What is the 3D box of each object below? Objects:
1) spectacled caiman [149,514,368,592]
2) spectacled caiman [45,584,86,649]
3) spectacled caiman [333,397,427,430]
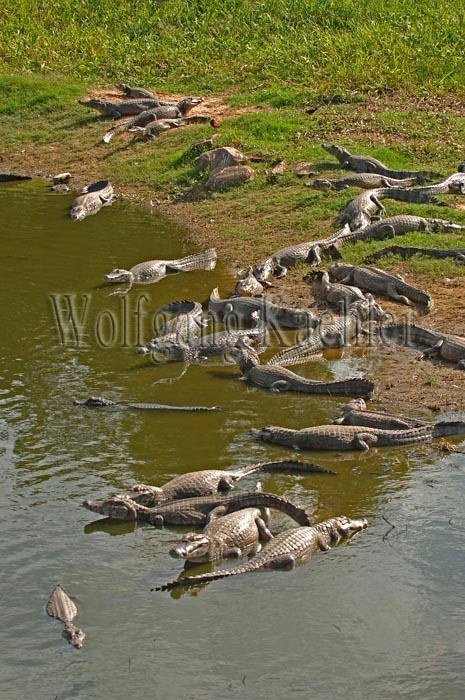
[{"bbox_3d":[0.322,1.551,7.900,1.917,0.242,0.539,-9,6,-27],"label":"spectacled caiman"},{"bbox_3d":[-1.244,1.979,7.453,0.198,0.094,0.607,2,33,-26],"label":"spectacled caiman"},{"bbox_3d":[1.371,0.614,9.574,0.321,0.163,0.686,6,-1,-39],"label":"spectacled caiman"}]
